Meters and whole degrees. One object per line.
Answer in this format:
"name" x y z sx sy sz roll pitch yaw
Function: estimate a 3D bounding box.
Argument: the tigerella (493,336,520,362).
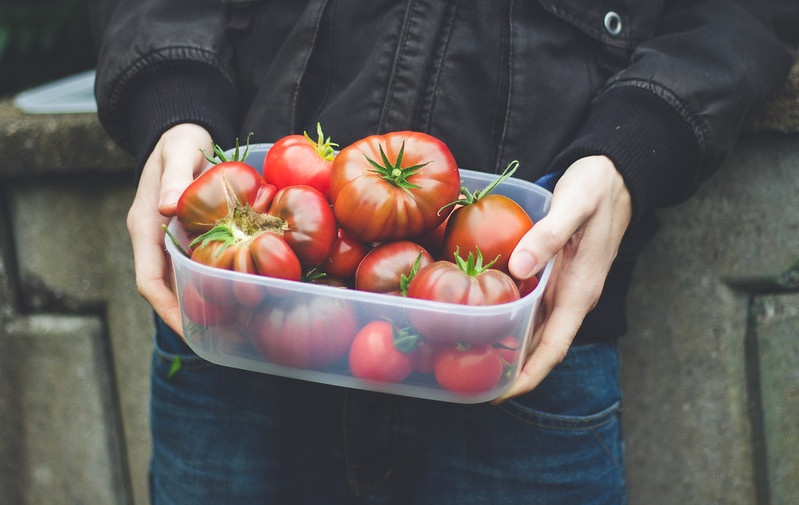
"tigerella" 0.307 0.275 2.538 0.059 0.065 0.071 5 10 24

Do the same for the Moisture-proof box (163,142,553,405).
"Moisture-proof box" -0.121 0.051 2.537 0.733 0.336 0.630 5 27 6

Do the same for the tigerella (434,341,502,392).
"tigerella" 0.189 0.327 2.539 0.126 0.092 0.152 7 29 17

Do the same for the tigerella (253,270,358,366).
"tigerella" -0.264 0.180 2.545 0.211 0.269 0.232 -3 3 -18

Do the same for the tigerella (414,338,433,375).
"tigerella" 0.072 0.301 2.558 0.067 0.086 0.074 -3 0 7

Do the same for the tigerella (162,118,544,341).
"tigerella" -0.129 -0.096 2.619 0.889 0.399 0.609 6 52 -2
